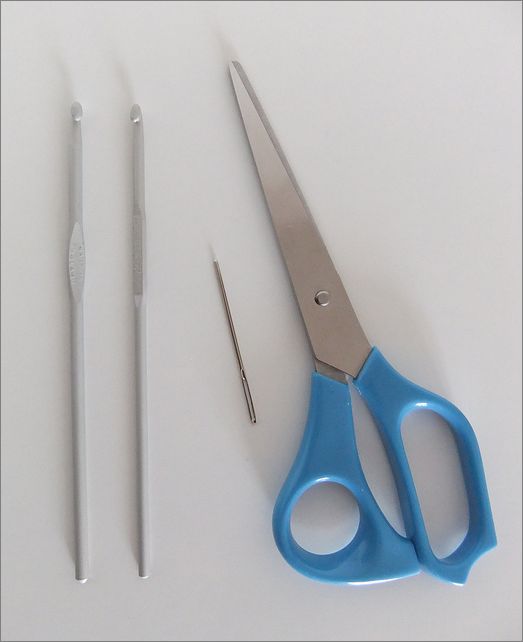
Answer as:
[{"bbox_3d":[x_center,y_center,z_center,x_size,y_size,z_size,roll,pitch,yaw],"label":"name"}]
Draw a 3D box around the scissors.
[{"bbox_3d":[0.113,0.001,0.899,0.324,0.635,0.205,-4,7,16],"label":"scissors"}]
